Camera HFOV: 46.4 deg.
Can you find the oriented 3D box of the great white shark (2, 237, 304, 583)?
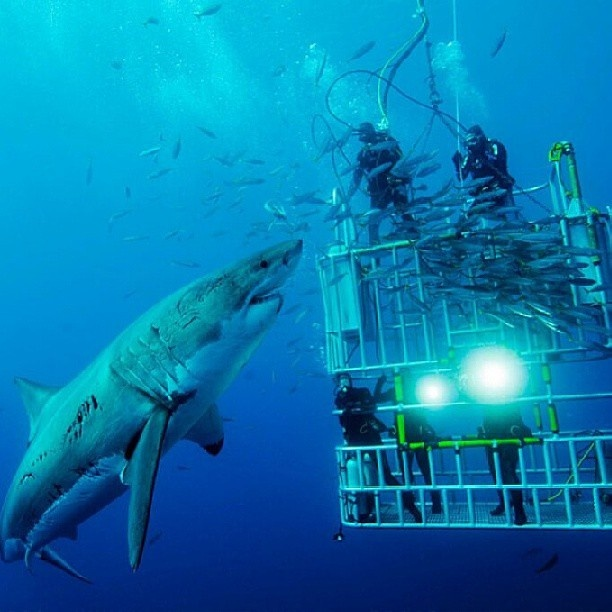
[{"bbox_3d":[-2.516,1.568,10.583,6.005,4.043,1.523,-29,-48,33],"label":"great white shark"}]

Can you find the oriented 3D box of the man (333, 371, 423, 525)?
[{"bbox_3d":[1.255,2.431,13.278,1.231,3.259,1.716,-11,-41,11],"label":"man"}]

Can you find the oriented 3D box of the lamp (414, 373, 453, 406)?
[{"bbox_3d":[2.317,1.550,12.906,0.677,0.721,0.284,-21,-45,24],"label":"lamp"}]
